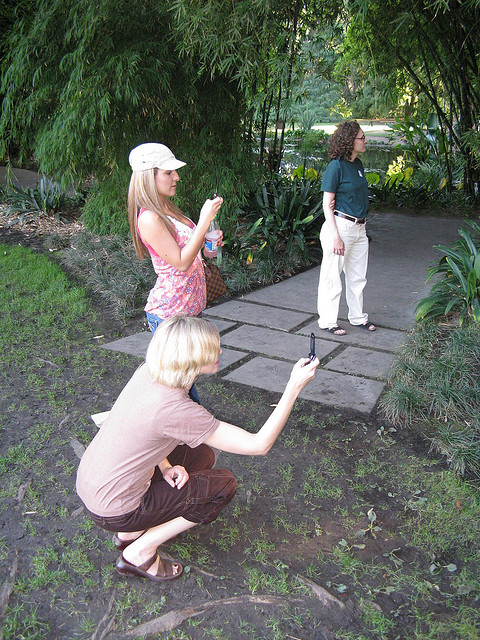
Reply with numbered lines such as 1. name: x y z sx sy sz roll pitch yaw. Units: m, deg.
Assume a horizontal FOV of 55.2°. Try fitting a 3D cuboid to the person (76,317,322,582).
1. person: -0.186 0.456 1.613 0.743 0.918 0.349 1 17 3
